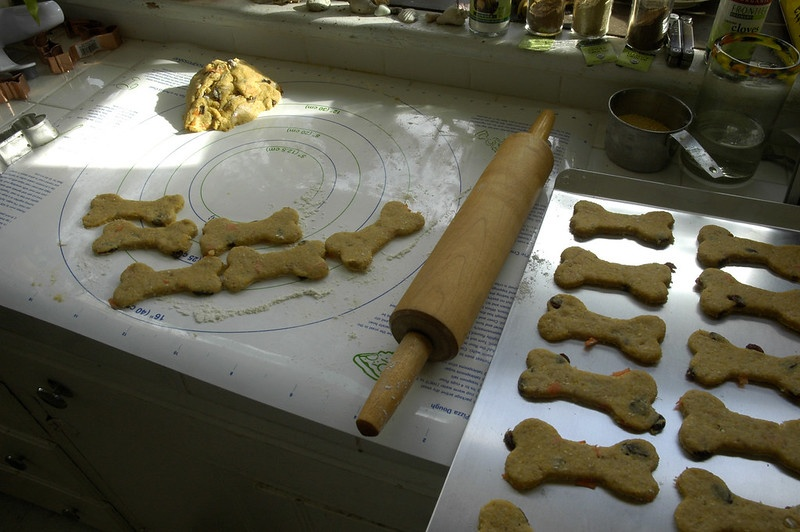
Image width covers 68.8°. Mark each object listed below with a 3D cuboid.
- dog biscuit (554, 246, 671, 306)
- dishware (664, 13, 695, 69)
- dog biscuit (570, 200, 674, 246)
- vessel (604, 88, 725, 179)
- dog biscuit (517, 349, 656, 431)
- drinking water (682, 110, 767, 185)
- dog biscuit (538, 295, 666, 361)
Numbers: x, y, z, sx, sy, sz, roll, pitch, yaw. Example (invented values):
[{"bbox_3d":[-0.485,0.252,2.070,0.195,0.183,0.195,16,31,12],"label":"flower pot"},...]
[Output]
[{"bbox_3d":[0.492,0.024,1.352,0.224,0.033,0.126,11,47,14],"label":"dog biscuit"},{"bbox_3d":[0.798,-0.643,1.698,0.071,0.049,0.207,1,44,4],"label":"dishware"},{"bbox_3d":[0.546,-0.100,1.429,0.207,0.030,0.111,8,46,11],"label":"dog biscuit"},{"bbox_3d":[0.684,-0.301,1.592,0.184,0.157,0.349,-21,51,-13],"label":"vessel"},{"bbox_3d":[0.394,0.269,1.250,0.261,0.030,0.132,17,53,17],"label":"dog biscuit"},{"bbox_3d":[0.860,-0.314,1.594,0.185,0.149,0.205,-1,52,8],"label":"drinking water"},{"bbox_3d":[0.442,0.137,1.278,0.230,0.032,0.129,12,59,14],"label":"dog biscuit"}]
